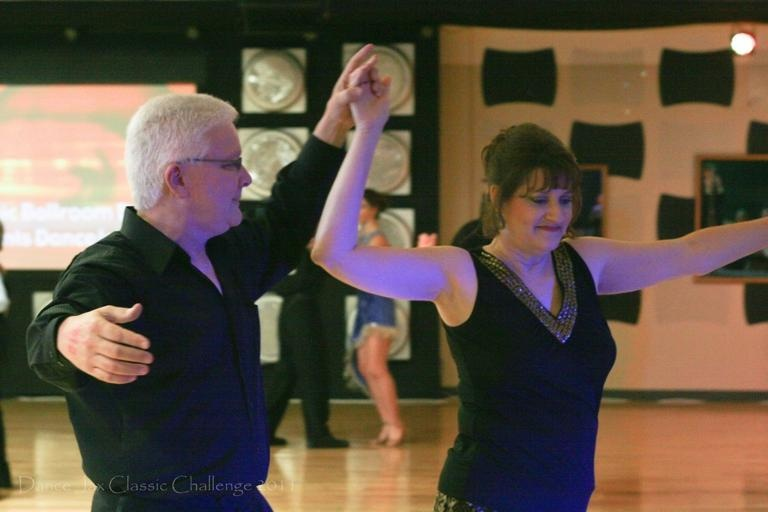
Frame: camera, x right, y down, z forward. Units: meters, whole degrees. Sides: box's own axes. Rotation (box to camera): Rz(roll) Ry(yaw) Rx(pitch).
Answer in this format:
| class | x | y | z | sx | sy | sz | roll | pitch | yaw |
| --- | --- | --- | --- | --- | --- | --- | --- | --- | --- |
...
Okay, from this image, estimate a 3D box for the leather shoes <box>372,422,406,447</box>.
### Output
| class | x | y | z | sx | sy | sz | roll | pitch | yaw |
| --- | --- | --- | --- | --- | --- | --- | --- | --- | --- |
| leather shoes | 0.026 | 0.716 | 4.722 | 0.110 | 0.109 | 0.032 | 3 | 43 | -3 |
